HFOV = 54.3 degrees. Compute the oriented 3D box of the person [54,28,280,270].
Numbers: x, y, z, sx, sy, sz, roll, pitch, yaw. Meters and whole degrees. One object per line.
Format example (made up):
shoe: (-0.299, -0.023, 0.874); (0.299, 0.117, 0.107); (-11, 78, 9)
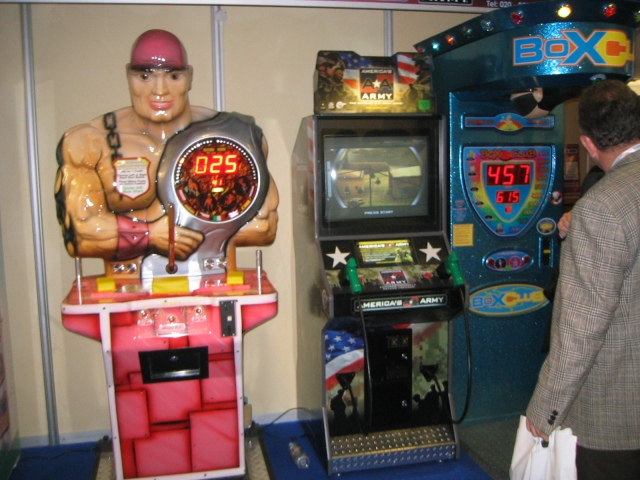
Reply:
person: (-0.874, -0.522, 3.649); (1.391, 1.299, 0.732); (-4, 27, -18)
